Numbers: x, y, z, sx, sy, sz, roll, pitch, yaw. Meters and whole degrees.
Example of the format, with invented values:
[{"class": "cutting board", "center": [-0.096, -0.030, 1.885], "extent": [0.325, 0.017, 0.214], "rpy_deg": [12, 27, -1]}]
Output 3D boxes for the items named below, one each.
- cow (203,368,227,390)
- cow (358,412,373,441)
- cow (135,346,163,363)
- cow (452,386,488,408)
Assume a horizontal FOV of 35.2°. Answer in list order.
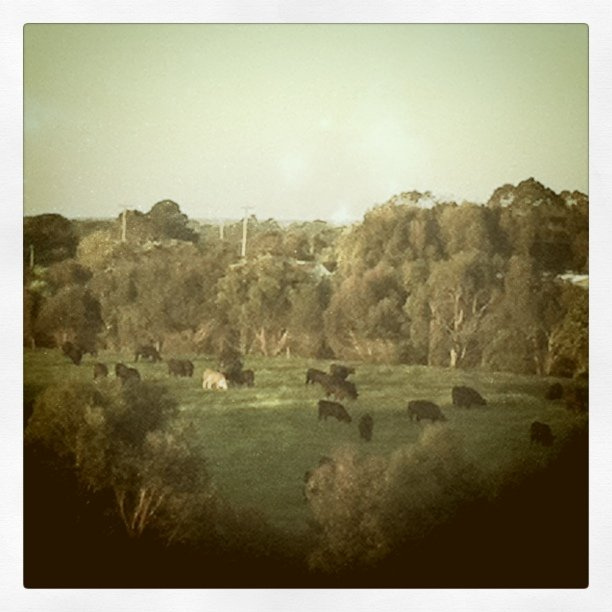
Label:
[{"class": "cow", "center": [-1.182, 0.963, 12.452], "extent": [0.303, 0.250, 0.113], "rpy_deg": [2, 1, -8]}, {"class": "cow", "center": [0.744, 1.561, 12.278], "extent": [0.133, 0.339, 0.170], "rpy_deg": [2, -4, 5]}, {"class": "cow", "center": [-2.038, 0.633, 12.467], "extent": [0.343, 0.205, 0.095], "rpy_deg": [2, 1, -11]}, {"class": "cow", "center": [2.091, 1.185, 12.400], "extent": [0.438, 0.261, 0.077], "rpy_deg": [2, 1, 6]}]
